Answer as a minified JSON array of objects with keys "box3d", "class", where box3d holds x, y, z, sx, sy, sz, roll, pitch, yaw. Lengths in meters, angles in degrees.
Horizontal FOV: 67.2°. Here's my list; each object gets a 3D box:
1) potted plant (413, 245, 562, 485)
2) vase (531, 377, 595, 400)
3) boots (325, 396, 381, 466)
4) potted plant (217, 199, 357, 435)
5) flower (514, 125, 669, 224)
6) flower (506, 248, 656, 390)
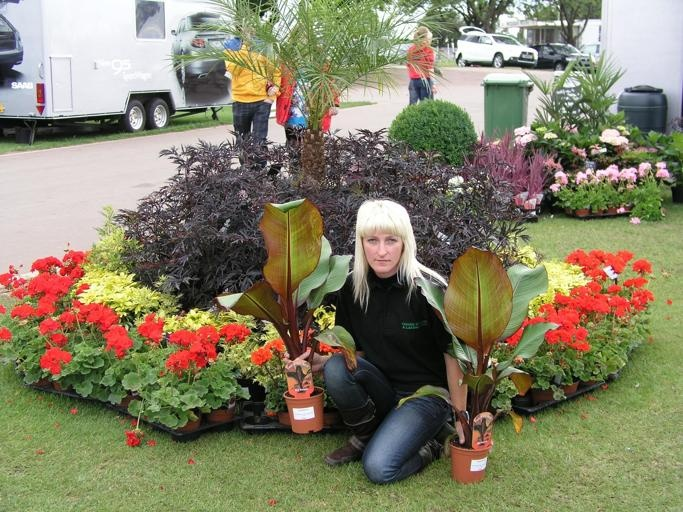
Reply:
[{"box3d":[0.709,0.536,2.703,0.733,1.271,0.433,-1,12,-3],"class":"potted plant"},{"box3d":[1.415,0.864,3.343,0.196,0.098,0.241,-4,-11,0],"class":"vase"},{"box3d":[0.060,0.969,2.970,0.339,0.461,0.239,2,-6,-11],"class":"boots"},{"box3d":[-0.264,0.401,2.895,0.694,1.487,0.550,0,12,1],"class":"potted plant"},{"box3d":[3.895,-1.248,7.854,1.617,0.968,1.958,-2,30,-2],"class":"flower"},{"box3d":[1.785,0.400,3.660,0.909,0.437,1.215,10,61,42],"class":"flower"}]
